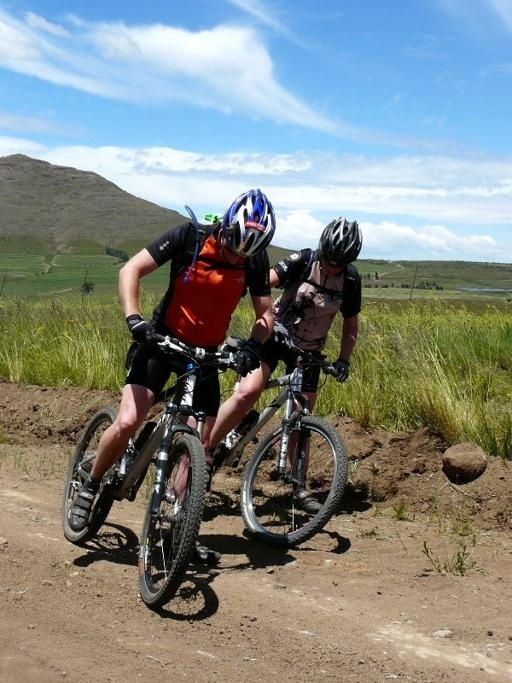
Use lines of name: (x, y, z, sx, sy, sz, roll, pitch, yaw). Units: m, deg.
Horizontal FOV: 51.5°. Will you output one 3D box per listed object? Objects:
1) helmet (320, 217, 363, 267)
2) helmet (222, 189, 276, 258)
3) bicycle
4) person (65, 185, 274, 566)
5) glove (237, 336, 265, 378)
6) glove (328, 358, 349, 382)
helmet: (0.643, -0.803, 4.378, 0.511, 0.349, 0.375, 0, -8, -1)
helmet: (-0.050, -0.735, 3.231, 0.313, 0.437, 0.303, 7, -4, -7)
bicycle: (-0.520, 0.948, 4.119, 1.336, 1.511, 2.556, 24, -20, -30)
person: (-0.526, 0.232, 3.313, 1.114, 1.639, 0.966, 6, -4, 1)
glove: (-0.059, 0.088, 3.221, 0.081, 0.197, 0.154, 17, 2, 36)
glove: (0.676, 0.236, 4.312, 0.152, 0.067, 0.199, 8, 11, 4)
